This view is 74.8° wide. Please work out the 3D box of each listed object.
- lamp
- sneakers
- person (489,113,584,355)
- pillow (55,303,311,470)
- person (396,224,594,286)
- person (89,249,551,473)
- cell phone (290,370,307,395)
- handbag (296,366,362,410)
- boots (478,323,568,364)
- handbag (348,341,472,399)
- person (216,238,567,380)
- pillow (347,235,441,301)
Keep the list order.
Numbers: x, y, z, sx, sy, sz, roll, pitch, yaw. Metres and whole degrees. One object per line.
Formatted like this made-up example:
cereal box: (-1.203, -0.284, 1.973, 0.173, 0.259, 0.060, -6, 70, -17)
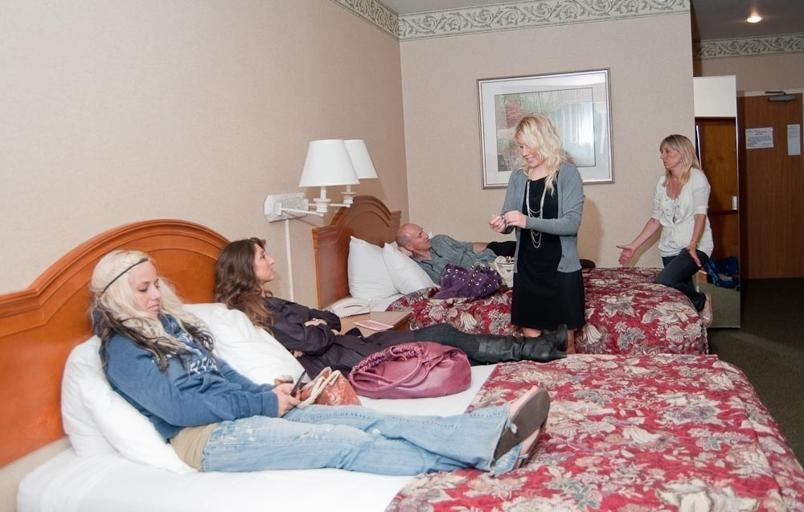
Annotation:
lamp: (-0.589, -0.594, 4.092, 0.686, 0.583, 0.996, 2, 8, 18)
sneakers: (0.577, 0.733, 2.416, 0.443, 0.147, 0.174, -45, 4, -32)
person: (1.000, 0.088, 3.874, 0.684, 2.092, 0.734, 2, 15, 31)
pillow: (-1.187, 0.746, 2.632, 0.843, 0.310, 0.840, 20, 32, 5)
person: (0.582, -0.052, 5.339, 1.228, 0.461, 0.916, 1, 11, 10)
person: (-0.410, 0.603, 2.701, 2.362, 0.966, 0.815, 6, 4, 0)
cell phone: (-0.568, 0.696, 2.919, 0.042, 0.017, 0.178, 16, 30, 10)
handbag: (-0.398, 0.715, 2.820, 0.250, 0.088, 0.218, 1, 4, 39)
boots: (0.789, 0.591, 3.472, 0.383, 0.116, 0.302, -5, 3, 17)
handbag: (0.042, 0.675, 3.061, 0.546, 0.179, 0.368, -5, 2, 8)
person: (-0.173, 0.430, 3.436, 1.595, 0.649, 1.099, 1, 6, 9)
pillow: (-0.098, 0.155, 4.796, 0.688, 0.564, 0.223, 3, -24, -24)
